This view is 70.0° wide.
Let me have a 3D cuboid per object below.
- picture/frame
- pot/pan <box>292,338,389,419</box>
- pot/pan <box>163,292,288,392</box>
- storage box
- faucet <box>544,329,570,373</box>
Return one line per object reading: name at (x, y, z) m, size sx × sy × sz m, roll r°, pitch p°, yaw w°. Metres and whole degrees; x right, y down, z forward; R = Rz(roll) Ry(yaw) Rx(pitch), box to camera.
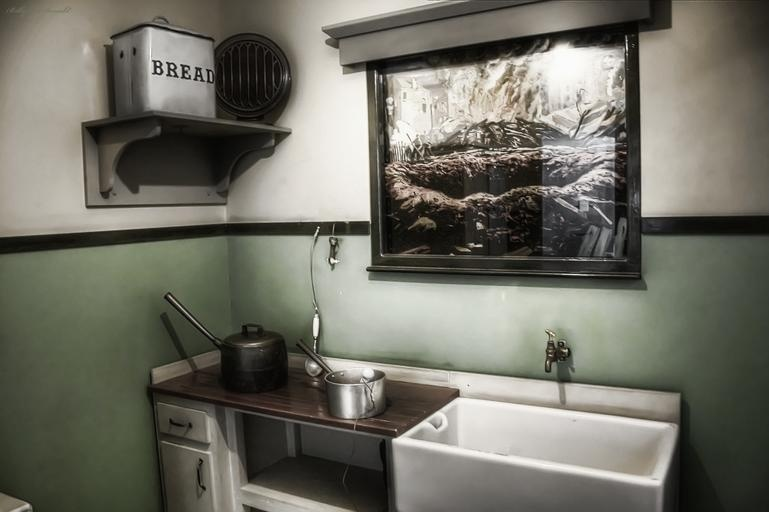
picture/frame at (0.539, -0.460, 2.315) m, size 1.115 × 0.957 × 0.087 m, roll -1°, pitch 6°, yaw 24°
pot/pan at (-0.209, 0.523, 2.384) m, size 0.192 × 0.209 × 0.483 m, roll -9°, pitch 6°, yaw -37°
pot/pan at (-0.752, 0.389, 2.582) m, size 0.580 × 0.420 × 0.303 m, roll 2°, pitch 5°, yaw 13°
storage box at (-1.014, -0.856, 2.533) m, size 0.423 × 0.462 × 0.443 m, roll -1°, pitch 8°, yaw -18°
faucet at (0.713, 0.399, 2.281) m, size 0.115 × 0.175 × 0.118 m, roll 2°, pitch -18°, yaw 6°
